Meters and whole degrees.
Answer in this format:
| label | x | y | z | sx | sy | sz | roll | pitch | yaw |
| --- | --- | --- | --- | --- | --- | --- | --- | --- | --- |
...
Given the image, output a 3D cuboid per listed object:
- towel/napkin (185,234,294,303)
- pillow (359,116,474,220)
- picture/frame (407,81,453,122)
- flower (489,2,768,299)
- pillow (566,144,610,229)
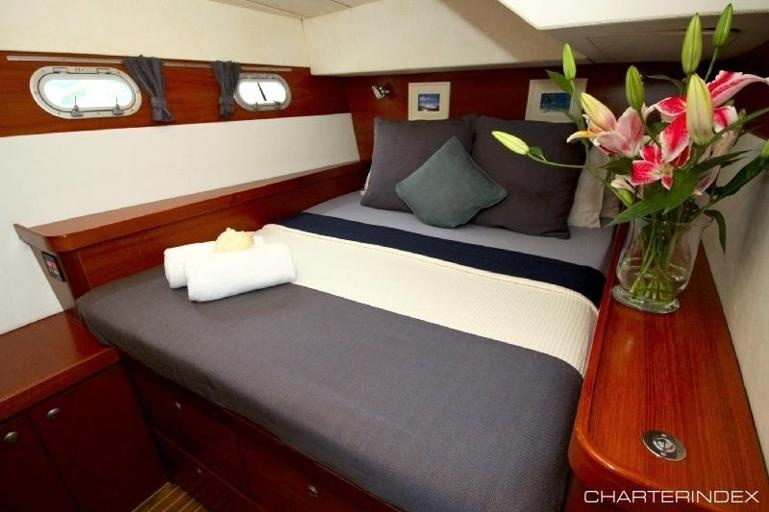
| label | x | y | z | sx | sy | sz | roll | pitch | yaw |
| --- | --- | --- | --- | --- | --- | --- | --- | --- | --- |
| towel/napkin | -0.693 | 0.057 | 2.318 | 0.361 | 0.120 | 0.288 | -17 | 32 | -13 |
| pillow | 0.153 | -0.567 | 3.182 | 0.667 | 0.622 | 0.195 | 1 | -8 | 35 |
| picture/frame | 0.345 | -1.167 | 3.650 | 0.455 | 0.395 | 0.048 | 6 | 23 | 26 |
| flower | 1.060 | -0.400 | 2.159 | 1.025 | 1.078 | 1.057 | -19 | 24 | -31 |
| pillow | 1.179 | -0.382 | 2.864 | 0.151 | 0.513 | 0.448 | 6 | 1 | 26 |
